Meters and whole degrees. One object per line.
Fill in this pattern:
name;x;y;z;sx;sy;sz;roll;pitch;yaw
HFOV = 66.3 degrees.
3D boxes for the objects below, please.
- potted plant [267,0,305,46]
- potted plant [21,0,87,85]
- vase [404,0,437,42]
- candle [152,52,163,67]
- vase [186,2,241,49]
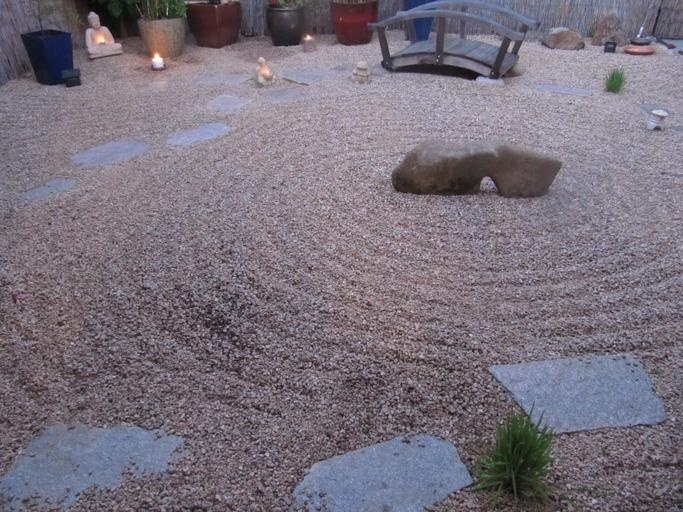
potted plant;-0.904;-3.751;8.533;0.673;0.731;0.656;-8;47;-6
potted plant;-3.798;-2.592;6.791;0.507;0.588;1.055;-20;36;-29
vase;1.245;-3.710;8.269;0.489;0.612;0.523;-6;32;-9
candle;-2.602;-2.730;7.360;0.130;0.163;0.165;-1;31;-2
vase;-2.072;-3.854;8.486;1.033;0.716;0.714;-7;20;-15
